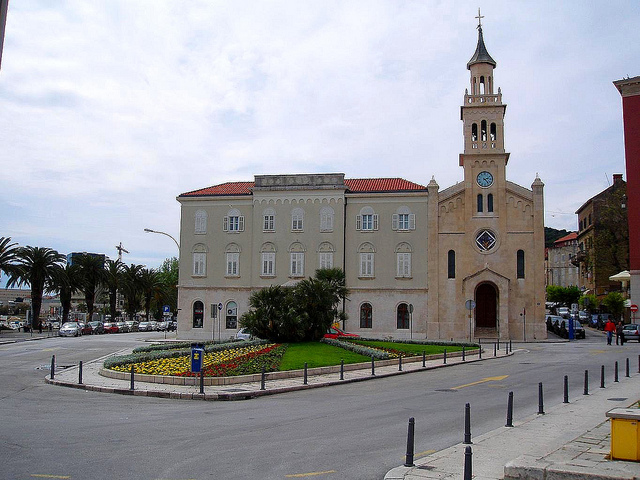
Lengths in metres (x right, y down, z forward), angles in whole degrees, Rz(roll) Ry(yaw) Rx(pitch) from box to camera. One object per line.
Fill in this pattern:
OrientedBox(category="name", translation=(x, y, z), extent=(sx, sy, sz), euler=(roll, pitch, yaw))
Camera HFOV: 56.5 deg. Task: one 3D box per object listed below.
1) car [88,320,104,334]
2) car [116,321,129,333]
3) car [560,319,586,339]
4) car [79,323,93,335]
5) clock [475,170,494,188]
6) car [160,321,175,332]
OrientedBox(category="car", translation=(-27.075, 10.427, 71.563), extent=(1.322, 1.089, 2.218), euler=(0, -13, -6))
OrientedBox(category="car", translation=(-26.525, 11.811, 80.445), extent=(1.173, 1.116, 2.098), euler=(-1, -12, 3))
OrientedBox(category="car", translation=(23.649, 8.503, 55.896), extent=(1.578, 1.406, 2.791), euler=(-2, -16, 6))
OrientedBox(category="car", translation=(-26.638, 10.138, 67.555), extent=(1.267, 1.152, 2.142), euler=(2, -10, -18))
OrientedBox(category="clock", translation=(15.959, -5.835, 57.531), extent=(1.707, 1.792, 0.236), euler=(0, -2, 12))
OrientedBox(category="car", translation=(-22.940, 12.955, 89.406), extent=(1.554, 1.565, 2.701), euler=(-2, -16, 1))
